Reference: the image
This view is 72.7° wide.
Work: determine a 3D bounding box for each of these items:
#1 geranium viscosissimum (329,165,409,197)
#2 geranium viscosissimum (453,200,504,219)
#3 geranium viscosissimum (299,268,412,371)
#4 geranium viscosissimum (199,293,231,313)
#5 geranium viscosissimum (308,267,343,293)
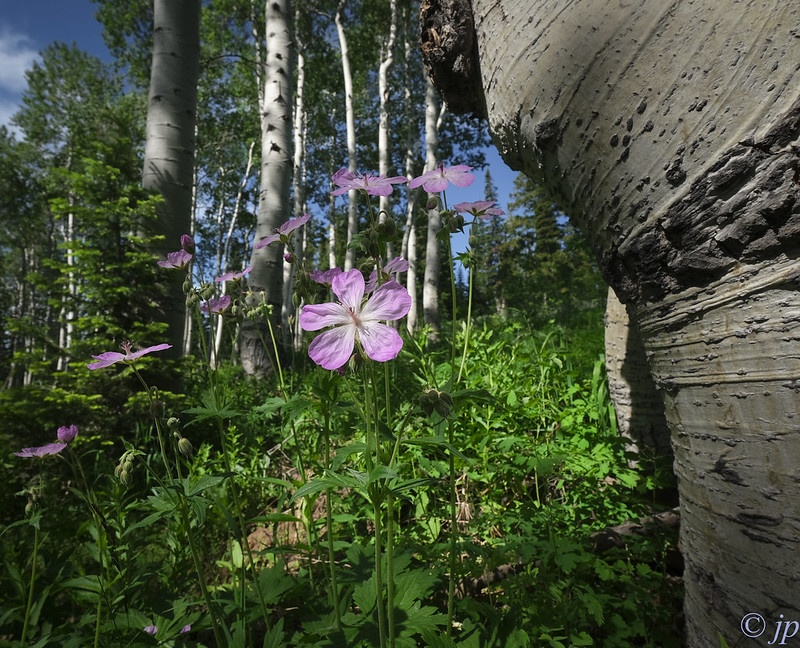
[{"bbox_3d":[-0.150,-0.605,2.316,0.270,0.143,0.512,-3,5,-7],"label":"geranium viscosissimum"},{"bbox_3d":[0.387,-0.564,2.711,0.142,0.101,0.365,1,6,29],"label":"geranium viscosissimum"},{"bbox_3d":[-0.155,-0.004,1.861,0.381,0.361,0.278,-2,5,-4],"label":"geranium viscosissimum"},{"bbox_3d":[-0.923,-0.100,2.702,0.108,0.045,0.110,35,51,25],"label":"geranium viscosissimum"},{"bbox_3d":[-0.294,-0.206,2.298,0.130,0.076,0.123,-9,0,24],"label":"geranium viscosissimum"}]
